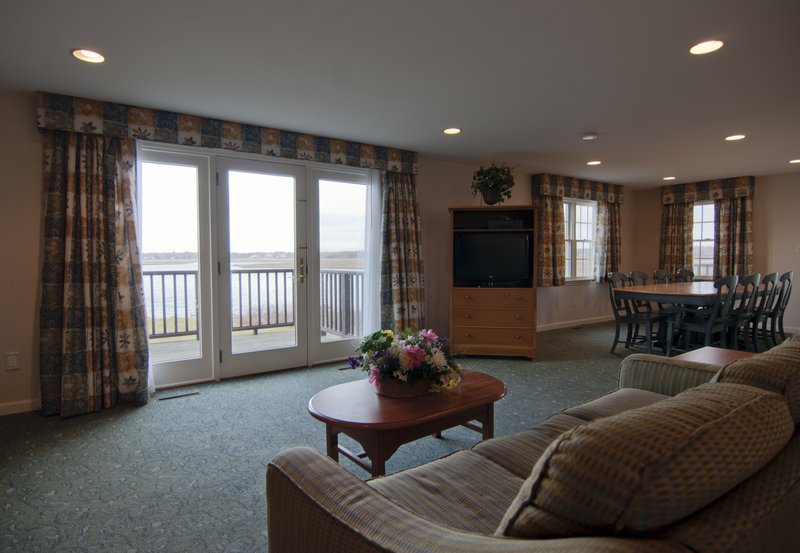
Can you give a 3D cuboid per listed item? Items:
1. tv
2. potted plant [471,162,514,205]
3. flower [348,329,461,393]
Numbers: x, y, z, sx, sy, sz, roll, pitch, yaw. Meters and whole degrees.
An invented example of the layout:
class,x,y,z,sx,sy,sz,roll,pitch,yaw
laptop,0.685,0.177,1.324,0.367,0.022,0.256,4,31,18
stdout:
class,x,y,z,sx,sy,sz,roll,pitch,yaw
tv,1.107,-0.286,6.194,1.114,0.765,0.605,0,-2,10
potted plant,1.166,-1.154,6.225,0.577,0.495,0.562,-8,13,-21
flower,0.020,0.553,3.385,0.606,0.304,0.548,-11,2,18
